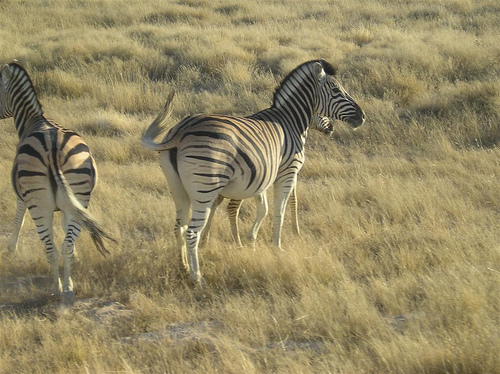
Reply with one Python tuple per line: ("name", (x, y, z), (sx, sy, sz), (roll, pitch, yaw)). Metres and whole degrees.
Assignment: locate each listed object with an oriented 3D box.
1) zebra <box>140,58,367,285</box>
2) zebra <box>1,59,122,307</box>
("zebra", (0.129, -0.363, 13.418), (3.733, 3.275, 1.218), (-11, 18, -32))
("zebra", (-2.998, -0.119, 13.163), (1.441, 3.160, 2.562), (-5, 19, -26))
